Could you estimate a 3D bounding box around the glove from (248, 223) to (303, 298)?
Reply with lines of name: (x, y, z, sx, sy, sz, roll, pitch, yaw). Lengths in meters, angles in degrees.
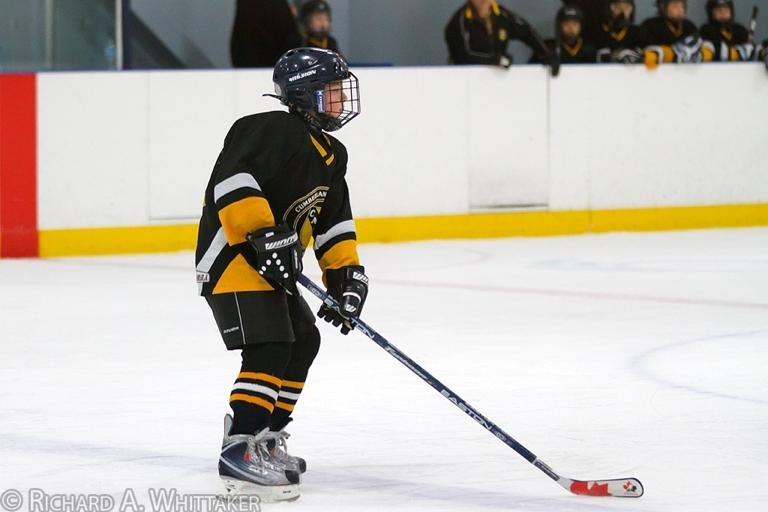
glove: (-0.456, 0.014, 3.653, 0.253, 0.283, 0.227, -3, 9, -11)

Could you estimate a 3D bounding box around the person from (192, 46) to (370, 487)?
person: (-0.426, 0.022, 3.762, 0.602, 1.647, 0.834, 5, 16, 21)

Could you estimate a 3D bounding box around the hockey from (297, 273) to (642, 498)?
hockey: (0.407, 0.636, 4.418, 1.302, 0.204, 0.113, 35, 36, 12)

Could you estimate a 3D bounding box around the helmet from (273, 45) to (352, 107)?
helmet: (-0.285, -0.727, 3.830, 0.310, 0.215, 0.226, 2, 4, 1)

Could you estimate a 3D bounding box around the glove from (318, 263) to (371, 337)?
glove: (-0.163, 0.174, 3.859, 0.276, 0.261, 0.118, -13, -8, -46)

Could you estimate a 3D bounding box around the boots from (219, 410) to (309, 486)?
boots: (-0.475, 0.753, 3.655, 0.334, 0.208, 0.240, 1, -1, 10)
